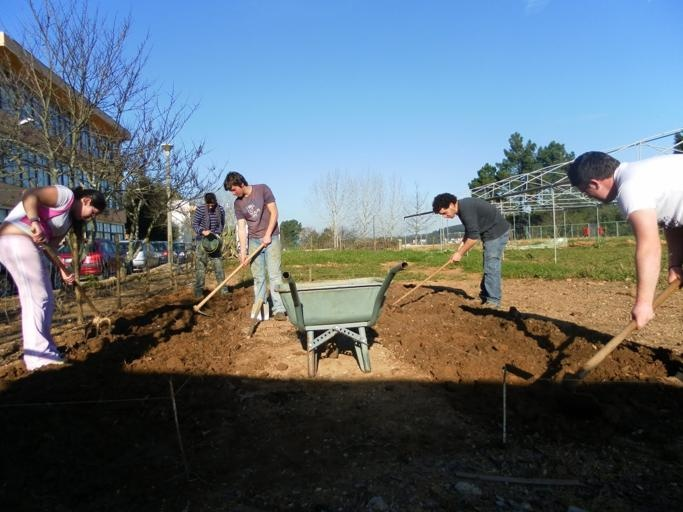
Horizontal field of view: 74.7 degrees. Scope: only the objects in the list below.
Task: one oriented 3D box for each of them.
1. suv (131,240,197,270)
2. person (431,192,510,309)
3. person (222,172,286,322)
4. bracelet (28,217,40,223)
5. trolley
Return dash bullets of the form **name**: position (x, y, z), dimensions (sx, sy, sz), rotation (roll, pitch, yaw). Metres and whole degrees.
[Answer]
- **suv**: position (-7.534, -0.025, 18.840), dimensions (1.247, 1.016, 2.837), rotation (0, 4, 13)
- **person**: position (2.192, -0.098, 7.485), dimensions (1.160, 1.847, 0.859), rotation (0, 12, 4)
- **person**: position (-1.230, -0.056, 6.515), dimensions (0.739, 2.311, 1.518), rotation (-3, 12, -11)
- **bracelet**: position (-3.147, -0.376, 4.587), dimensions (0.086, 0.046, 0.099), rotation (-8, 14, -29)
- **trolley**: position (-0.093, 0.690, 4.847), dimensions (0.931, 1.035, 1.524), rotation (-2, 5, -3)
